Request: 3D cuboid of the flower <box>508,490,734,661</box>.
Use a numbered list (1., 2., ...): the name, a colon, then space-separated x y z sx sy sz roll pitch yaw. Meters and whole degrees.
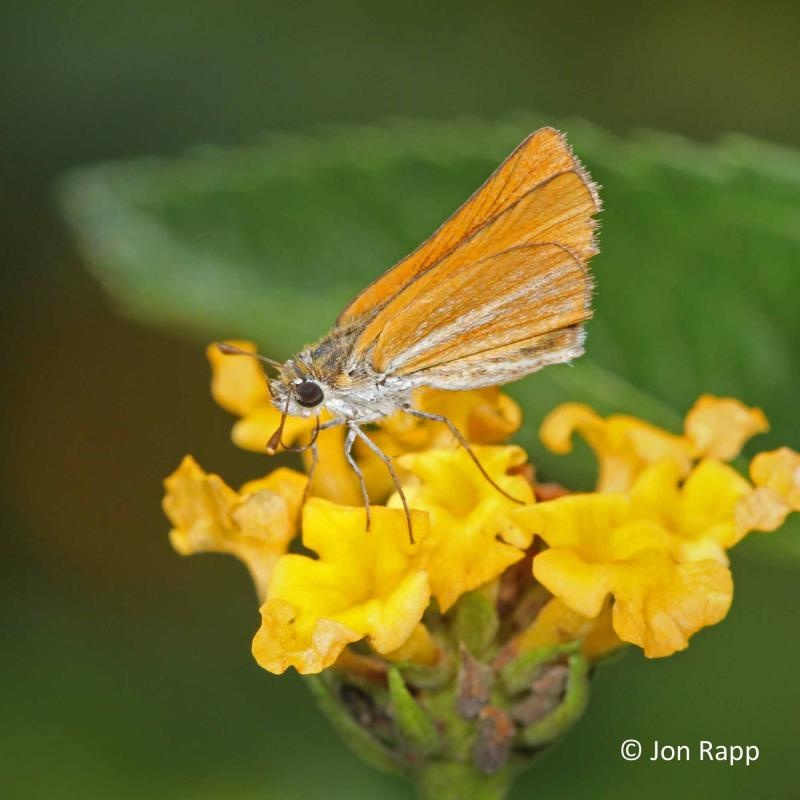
1. flower: 0.252 0.260 1.392 0.300 0.079 0.246 15 32 -4
